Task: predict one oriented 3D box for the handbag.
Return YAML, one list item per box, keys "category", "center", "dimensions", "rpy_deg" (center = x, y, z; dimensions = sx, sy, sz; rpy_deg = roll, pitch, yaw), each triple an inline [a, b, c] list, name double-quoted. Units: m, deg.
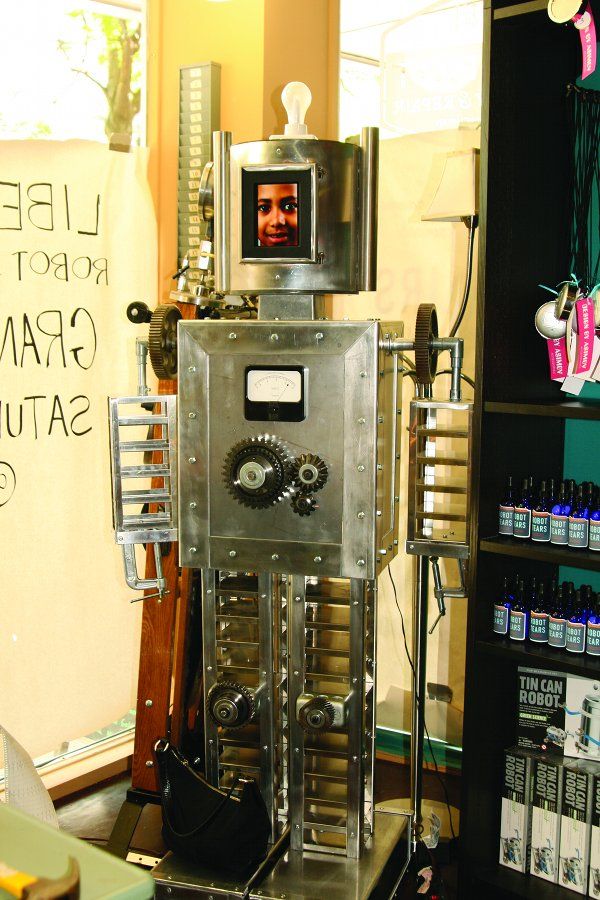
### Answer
- category: "handbag"
  center: [-0.211, 0.802, 1.709]
  dimensions: [0.264, 0.285, 0.152]
  rpy_deg: [13, 23, 20]
